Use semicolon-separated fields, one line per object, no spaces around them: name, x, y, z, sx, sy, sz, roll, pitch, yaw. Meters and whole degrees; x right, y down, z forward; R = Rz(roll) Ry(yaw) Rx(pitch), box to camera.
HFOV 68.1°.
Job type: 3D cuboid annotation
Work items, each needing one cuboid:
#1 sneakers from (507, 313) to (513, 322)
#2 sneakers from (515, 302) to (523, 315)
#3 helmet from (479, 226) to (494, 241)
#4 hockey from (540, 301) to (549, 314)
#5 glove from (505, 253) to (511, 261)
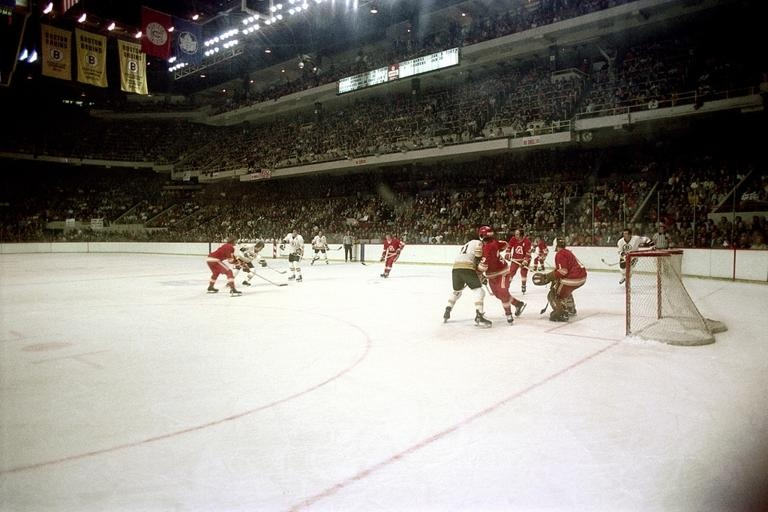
sneakers;3.340;1.627;15.055;0.183;0.225;0.219;3;5;12
sneakers;3.774;1.481;15.744;0.191;0.164;0.461;12;-36;10
helmet;2.803;-0.634;15.390;0.380;0.359;0.292;7;0;14
hockey;4.698;1.498;16.560;0.042;0.406;0.384;24;4;30
glove;3.996;0.007;18.287;0.151;0.213;0.080;1;1;13
